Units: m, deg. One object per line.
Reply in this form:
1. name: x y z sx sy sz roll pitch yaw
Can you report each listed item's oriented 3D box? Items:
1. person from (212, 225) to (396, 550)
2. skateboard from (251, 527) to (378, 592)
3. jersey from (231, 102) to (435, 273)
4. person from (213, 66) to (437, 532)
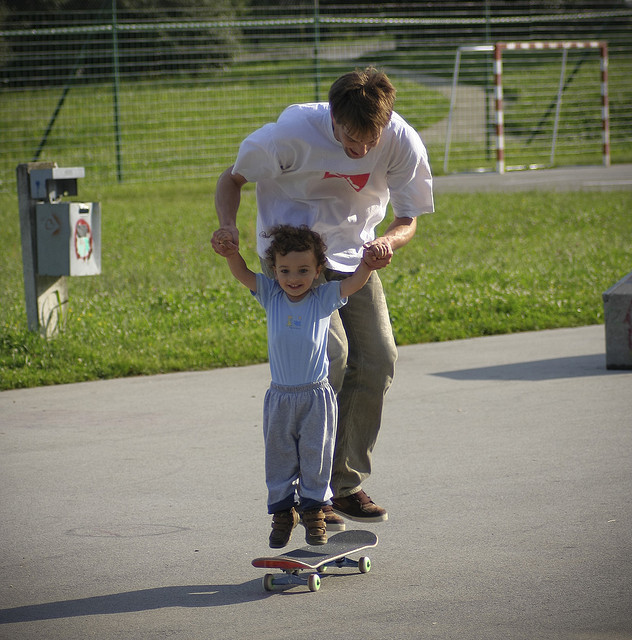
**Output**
1. person: -0.088 0.310 7.175 0.638 1.531 0.561 -11 17 -36
2. skateboard: 0.022 1.194 7.106 0.250 0.189 0.669 5 5 32
3. jersey: 0.102 -0.760 7.477 1.063 0.935 0.577 5 35 -9
4. person: 0.043 -0.079 7.458 1.060 2.483 1.006 -1 11 -6
